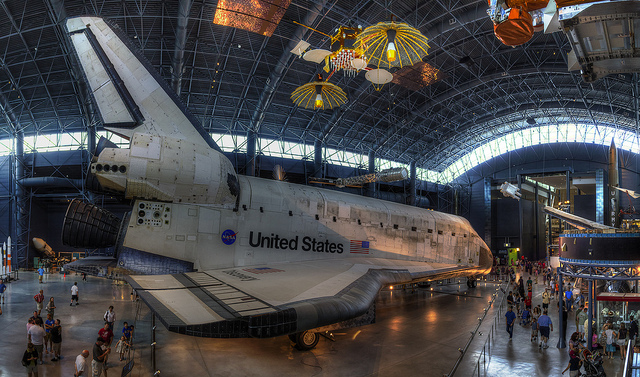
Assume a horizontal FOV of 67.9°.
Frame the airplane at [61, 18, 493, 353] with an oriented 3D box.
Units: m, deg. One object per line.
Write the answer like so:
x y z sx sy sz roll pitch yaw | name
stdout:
0.231 2.078 30.213 25.604 12.337 18.639 5 -3 -34 | airplane

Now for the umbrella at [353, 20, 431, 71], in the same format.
4.392 -9.401 30.674 4.621 1.935 4.665 -1 -15 15 | umbrella

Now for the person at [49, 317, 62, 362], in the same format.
-14.708 8.451 26.417 0.599 2.245 0.791 7 -13 -27 | person
